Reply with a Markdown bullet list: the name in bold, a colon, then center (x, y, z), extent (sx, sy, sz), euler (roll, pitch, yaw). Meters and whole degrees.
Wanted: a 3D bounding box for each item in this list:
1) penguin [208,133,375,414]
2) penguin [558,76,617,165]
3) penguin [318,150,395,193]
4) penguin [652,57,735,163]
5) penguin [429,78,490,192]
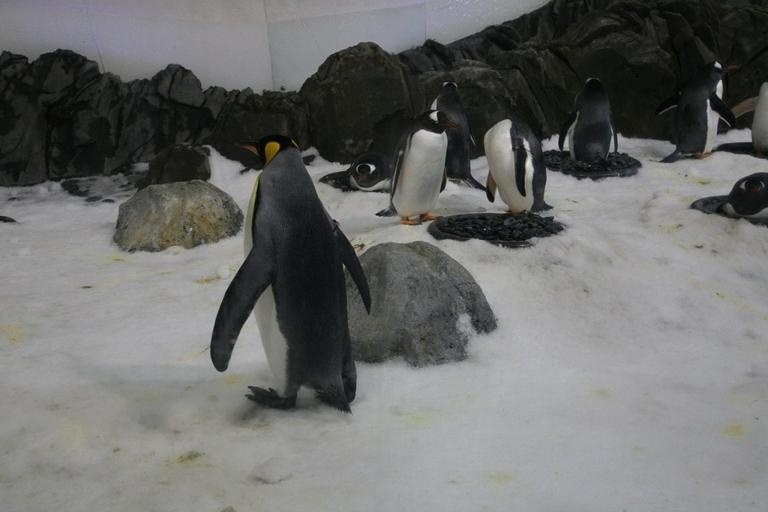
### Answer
- **penguin**: center (-0.546, 0.098, 4.184), extent (1.346, 1.793, 0.911), euler (-9, 13, -39)
- **penguin**: center (2.737, -1.821, 8.303), extent (0.674, 1.099, 0.387), euler (3, 14, 15)
- **penguin**: center (-0.368, -1.103, 8.213), extent (0.869, 0.602, 0.653), euler (-13, 23, -26)
- **penguin**: center (4.247, -1.923, 8.272), extent (0.749, 1.316, 0.377), euler (5, 14, 22)
- **penguin**: center (0.898, -1.532, 7.699), extent (0.898, 1.249, 0.677), euler (1, 18, 1)
